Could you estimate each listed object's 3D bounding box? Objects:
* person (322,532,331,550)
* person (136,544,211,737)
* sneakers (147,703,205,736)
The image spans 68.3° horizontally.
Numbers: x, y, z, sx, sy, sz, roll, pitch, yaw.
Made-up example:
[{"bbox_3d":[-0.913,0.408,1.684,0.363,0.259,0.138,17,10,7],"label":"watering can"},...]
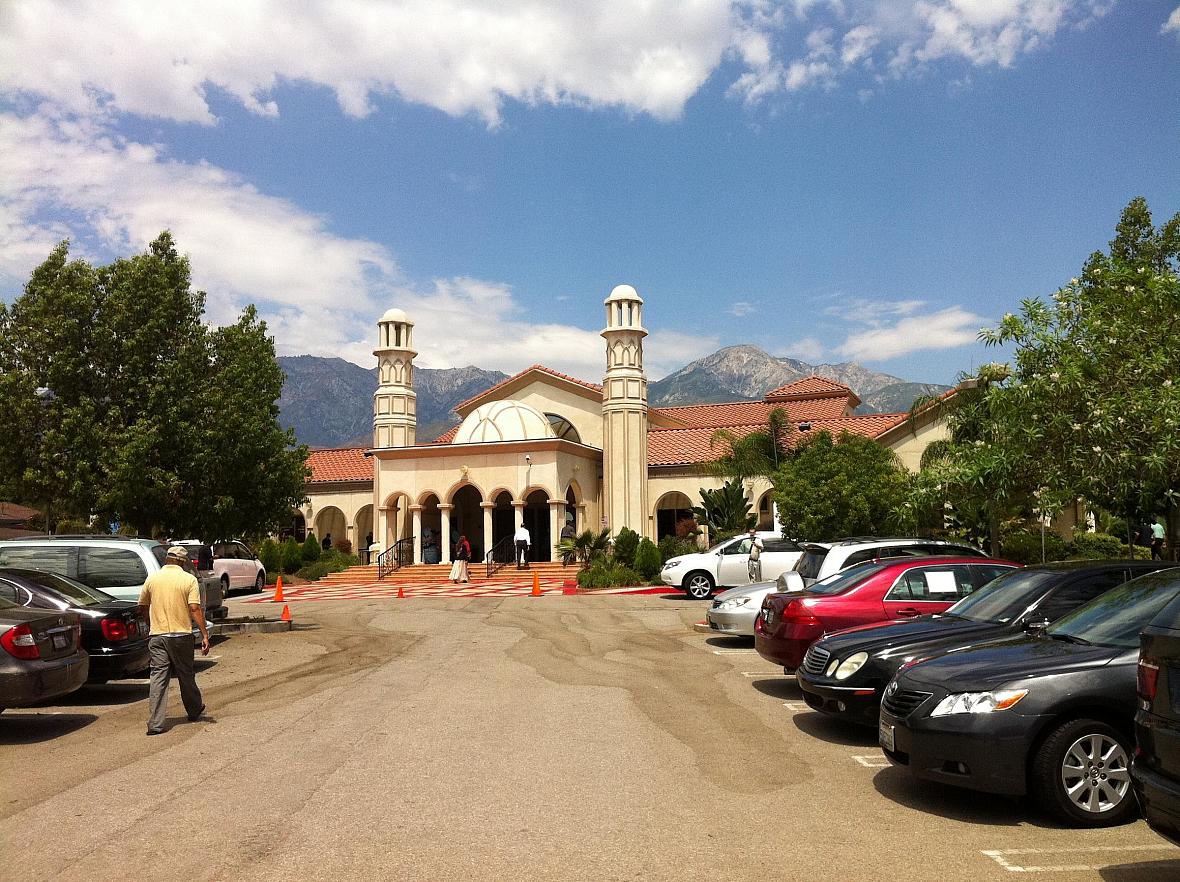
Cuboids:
[{"bbox_3d":[-14.856,5.583,48.681,0.565,1.099,0.588,1,-8,7],"label":"person"},{"bbox_3d":[-5.231,2.389,10.916,0.737,2.252,1.405,0,-7,-26],"label":"person"},{"bbox_3d":[-5.017,3.373,10.504,0.189,0.274,0.626,1,17,33],"label":"sneakers"}]
